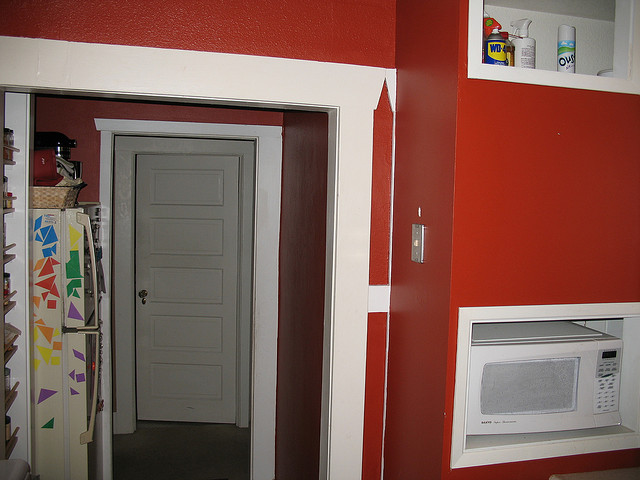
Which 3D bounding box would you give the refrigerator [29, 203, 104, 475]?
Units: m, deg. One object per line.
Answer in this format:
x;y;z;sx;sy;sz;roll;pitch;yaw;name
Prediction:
-1.392;0.579;3.117;0.334;1.505;0.279;-1;3;-21;refrigerator

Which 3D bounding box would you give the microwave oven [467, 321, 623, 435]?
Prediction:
0.853;0.505;2.308;0.581;0.385;0.428;-3;16;2;microwave oven

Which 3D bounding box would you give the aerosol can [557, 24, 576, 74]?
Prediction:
0.936;-0.727;2.151;0.056;0.190;0.093;1;4;20;aerosol can

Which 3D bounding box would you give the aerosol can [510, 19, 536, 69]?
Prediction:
0.749;-0.726;2.085;0.084;0.198;0.145;2;4;20;aerosol can

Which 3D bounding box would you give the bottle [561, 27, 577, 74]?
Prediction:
0.933;-0.718;2.126;0.048;0.173;0.031;1;3;5;bottle
